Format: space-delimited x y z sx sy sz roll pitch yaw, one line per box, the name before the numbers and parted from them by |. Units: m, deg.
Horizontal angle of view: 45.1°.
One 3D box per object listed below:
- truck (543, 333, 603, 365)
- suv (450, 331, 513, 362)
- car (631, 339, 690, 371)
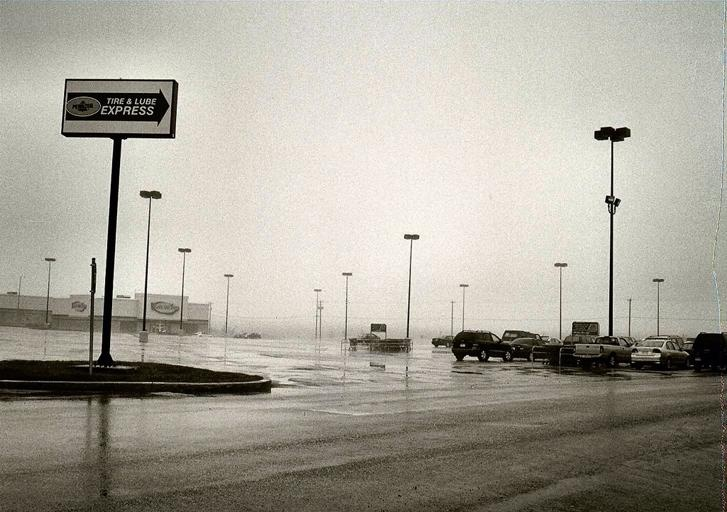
truck | 10.781 5.071 46.183 3.532 1.462 1.726 0 -2 -43
suv | 6.563 5.112 48.971 3.457 1.643 1.719 6 -9 -36
car | 15.201 5.117 45.226 1.948 1.663 3.889 -5 -10 42
